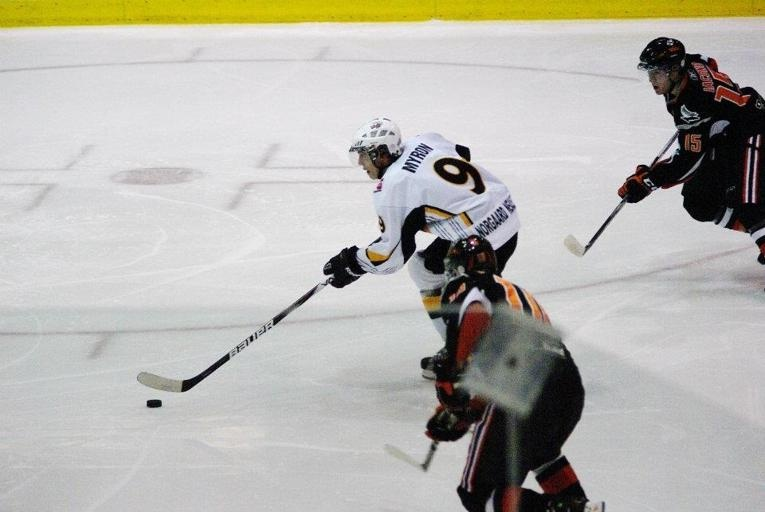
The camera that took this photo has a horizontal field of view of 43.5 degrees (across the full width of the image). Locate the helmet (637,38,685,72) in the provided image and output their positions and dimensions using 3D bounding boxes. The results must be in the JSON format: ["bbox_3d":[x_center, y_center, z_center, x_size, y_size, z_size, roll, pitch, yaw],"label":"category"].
[{"bbox_3d":[1.714,-1.269,5.974,0.380,0.167,0.259,-20,30,-34],"label":"helmet"}]

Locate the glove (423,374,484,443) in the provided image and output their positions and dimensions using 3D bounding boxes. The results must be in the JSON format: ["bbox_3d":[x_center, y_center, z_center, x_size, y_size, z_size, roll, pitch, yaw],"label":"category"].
[{"bbox_3d":[0.330,0.739,4.559,0.379,0.137,0.215,-13,55,1],"label":"glove"}]

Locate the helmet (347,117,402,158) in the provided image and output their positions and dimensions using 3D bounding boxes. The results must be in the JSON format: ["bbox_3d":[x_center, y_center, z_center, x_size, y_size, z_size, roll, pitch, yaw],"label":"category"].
[{"bbox_3d":[-0.033,-0.629,5.290,0.316,0.234,0.206,-13,23,8],"label":"helmet"}]

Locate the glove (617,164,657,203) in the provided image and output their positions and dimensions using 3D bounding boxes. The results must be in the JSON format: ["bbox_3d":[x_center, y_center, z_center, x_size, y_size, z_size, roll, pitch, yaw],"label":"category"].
[{"bbox_3d":[1.689,-0.465,6.269,0.109,0.288,0.164,0,57,-54],"label":"glove"}]

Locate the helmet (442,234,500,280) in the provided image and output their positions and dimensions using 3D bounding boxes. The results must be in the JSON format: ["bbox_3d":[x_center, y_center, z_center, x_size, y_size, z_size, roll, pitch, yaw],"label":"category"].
[{"bbox_3d":[0.399,0.028,4.494,0.252,0.241,0.290,-2,5,-17],"label":"helmet"}]
